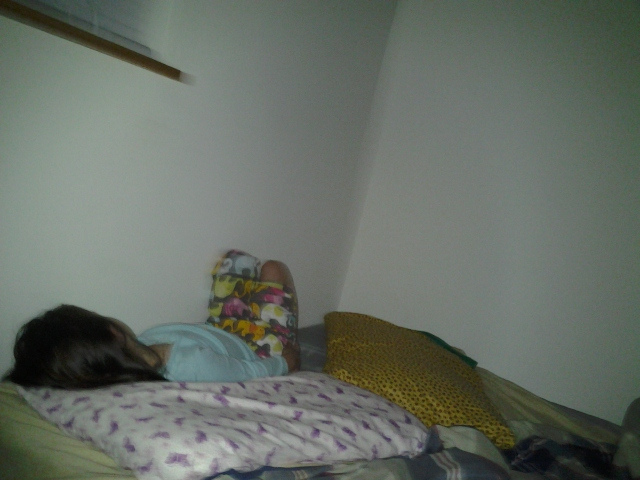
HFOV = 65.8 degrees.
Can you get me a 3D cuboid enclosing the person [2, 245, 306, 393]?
[{"bbox_3d":[-0.606,0.347,2.206,0.620,0.391,0.973,-5,1,36],"label":"person"}]
